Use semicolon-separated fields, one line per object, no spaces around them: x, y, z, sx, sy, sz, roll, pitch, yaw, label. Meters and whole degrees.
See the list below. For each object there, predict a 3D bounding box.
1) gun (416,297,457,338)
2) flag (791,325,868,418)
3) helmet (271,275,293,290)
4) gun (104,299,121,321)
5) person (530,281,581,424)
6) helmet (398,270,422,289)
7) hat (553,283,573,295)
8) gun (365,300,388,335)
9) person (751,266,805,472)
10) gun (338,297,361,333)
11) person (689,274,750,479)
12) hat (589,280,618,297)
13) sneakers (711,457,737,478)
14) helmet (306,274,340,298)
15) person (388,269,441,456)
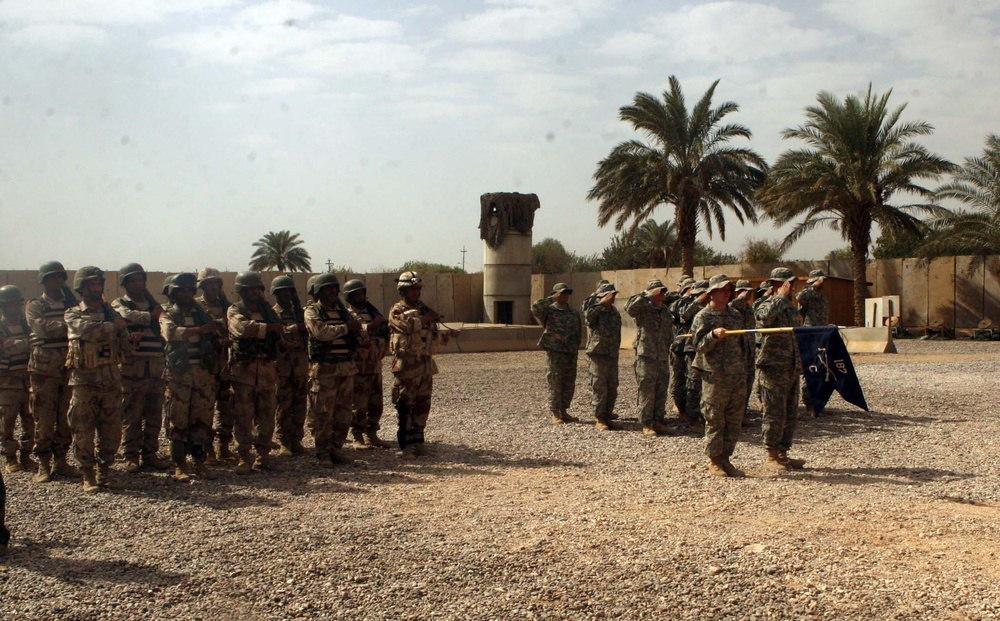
-1.391;0.063;23.596;0.561;1.154;0.306;-47;14;-11;gun
4.910;0.975;16.351;1.556;1.491;0.120;-4;2;-29;flag
-3.198;-0.417;15.942;0.262;0.243;0.320;0;7;-30;helmet
-5.269;-0.010;14.782;0.178;0.127;0.273;3;20;-25;gun
0.954;0.668;18.080;0.732;2.249;1.300;-1;0;4;person
-1.362;-0.468;16.240;0.312;0.232;0.284;-2;5;9;helmet
0.985;-0.385;17.711;0.382;0.140;0.377;-3;-1;14;hat
-1.806;0.119;16.242;0.176;0.471;0.355;-9;7;-20;gun
3.958;0.775;15.465;0.611;2.779;1.585;-1;0;14;person
-2.150;0.078;15.688;0.309;0.420;0.117;-14;8;18;gun
2.961;0.869;14.740;0.685;2.693;0.694;-1;1;27;person
1.630;-0.302;17.295;0.359;0.184;0.344;-7;5;32;hat
2.992;2.113;14.615;0.153;0.285;0.430;10;-7;-40;sneakers
-2.602;-0.406;15.843;0.310;0.296;0.390;-4;19;-12;helmet
-1.274;0.746;16.233;0.744;1.897;0.868;-1;0;-5;person
